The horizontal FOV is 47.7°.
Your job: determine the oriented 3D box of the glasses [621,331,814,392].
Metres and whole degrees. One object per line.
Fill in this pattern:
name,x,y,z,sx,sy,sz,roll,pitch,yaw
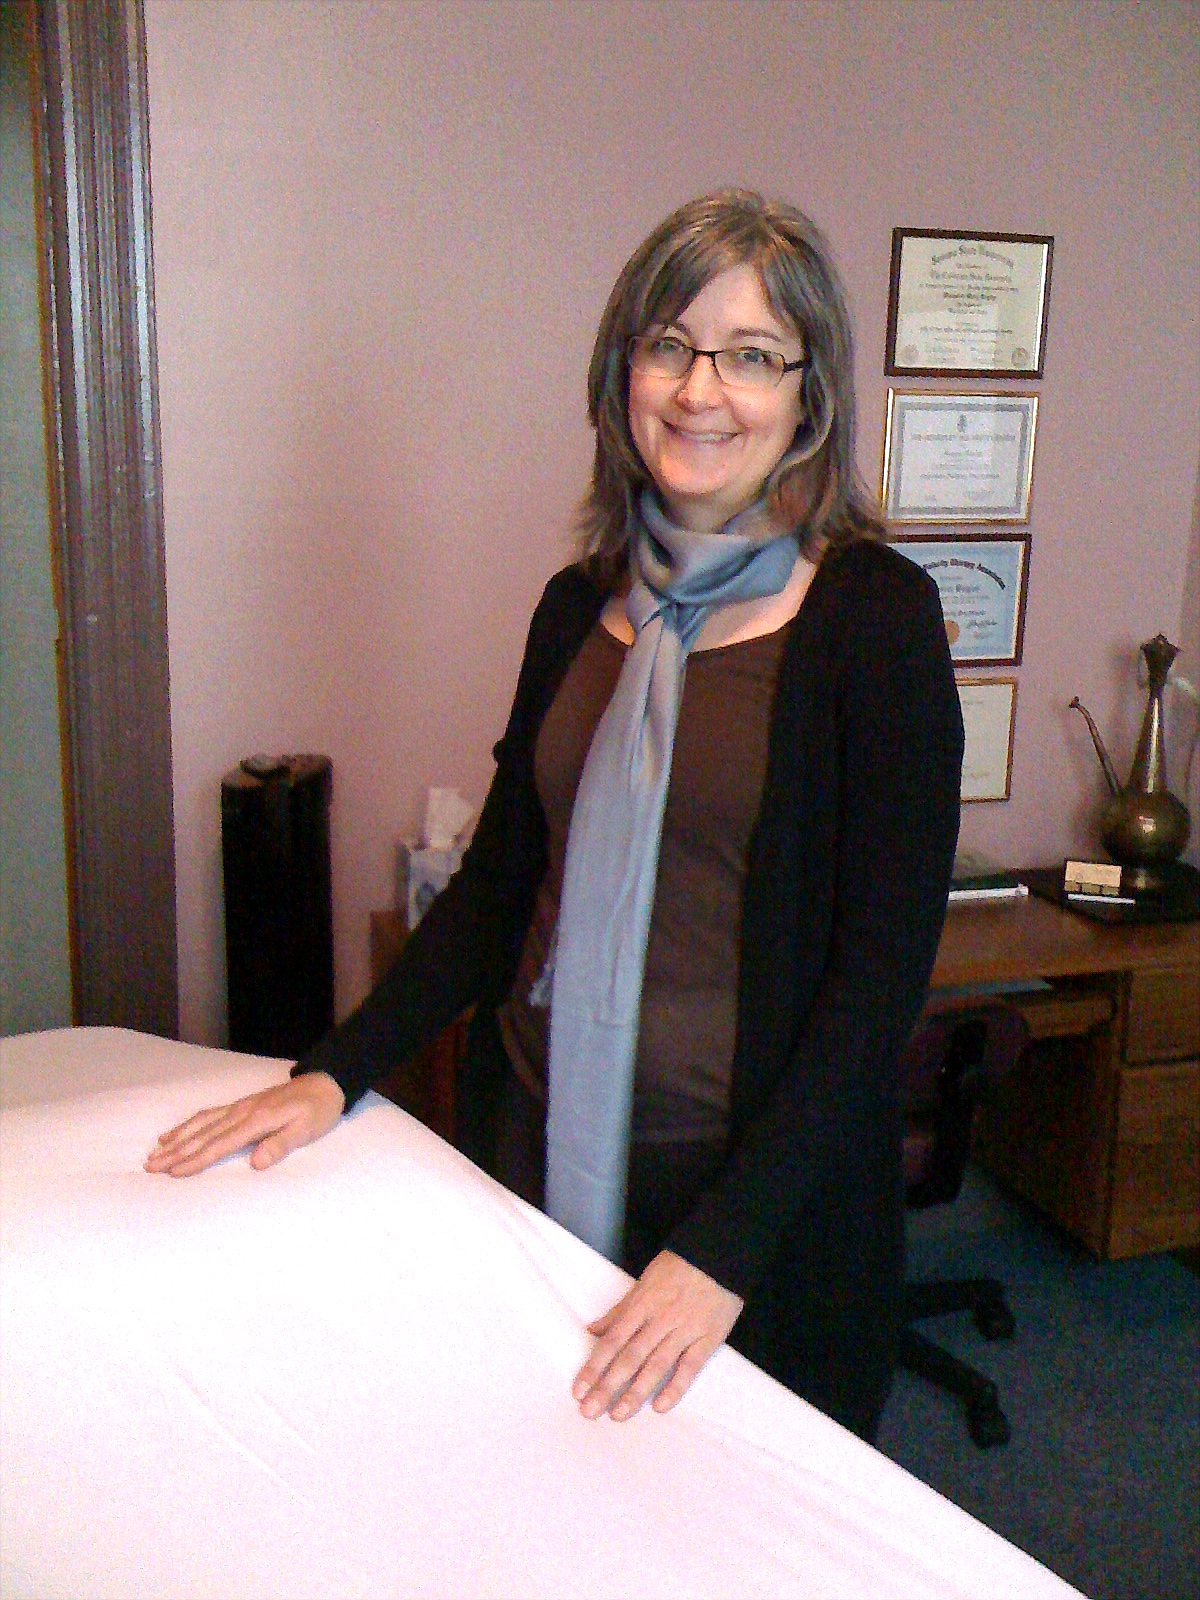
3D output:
glasses,0.099,-0.369,1.153,0.145,0.041,0.041,10,7,5
